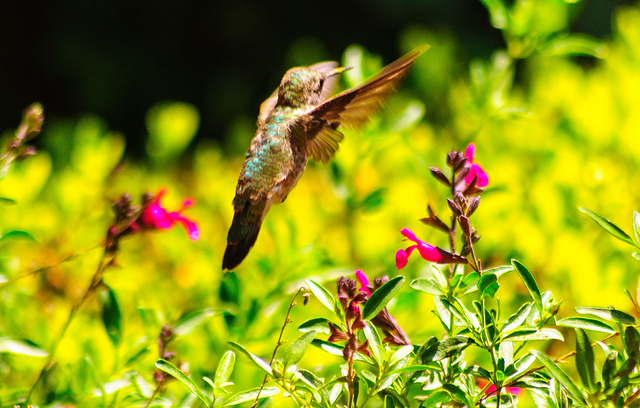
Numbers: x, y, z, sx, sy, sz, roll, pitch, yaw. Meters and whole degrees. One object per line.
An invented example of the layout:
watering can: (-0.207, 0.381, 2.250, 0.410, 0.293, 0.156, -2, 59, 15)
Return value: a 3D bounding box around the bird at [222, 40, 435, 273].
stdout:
bird: (-0.083, -0.324, 4.189, 1.053, 0.524, 1.099, -17, 23, 52)
